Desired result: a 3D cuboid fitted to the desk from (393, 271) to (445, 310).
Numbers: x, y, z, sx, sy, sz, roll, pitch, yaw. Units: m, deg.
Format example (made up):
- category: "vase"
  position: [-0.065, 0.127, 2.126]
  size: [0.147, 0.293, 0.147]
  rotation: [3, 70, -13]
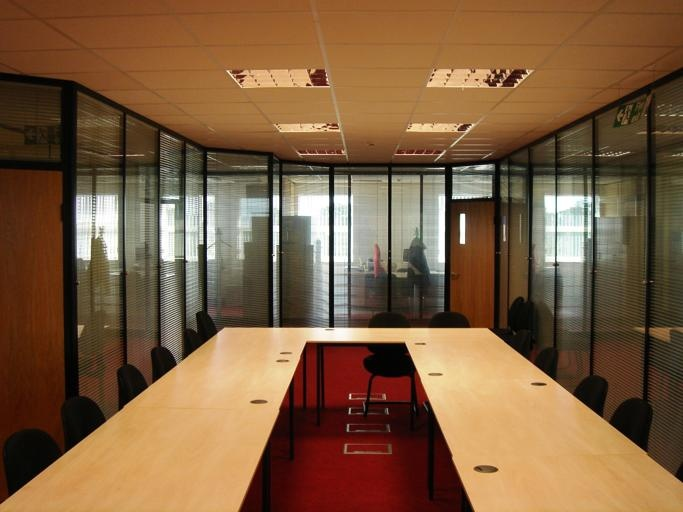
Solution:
- category: "desk"
  position: [1.495, 0.697, 9.843]
  size: [1.029, 0.864, 0.515]
  rotation: [1, -11, -4]
